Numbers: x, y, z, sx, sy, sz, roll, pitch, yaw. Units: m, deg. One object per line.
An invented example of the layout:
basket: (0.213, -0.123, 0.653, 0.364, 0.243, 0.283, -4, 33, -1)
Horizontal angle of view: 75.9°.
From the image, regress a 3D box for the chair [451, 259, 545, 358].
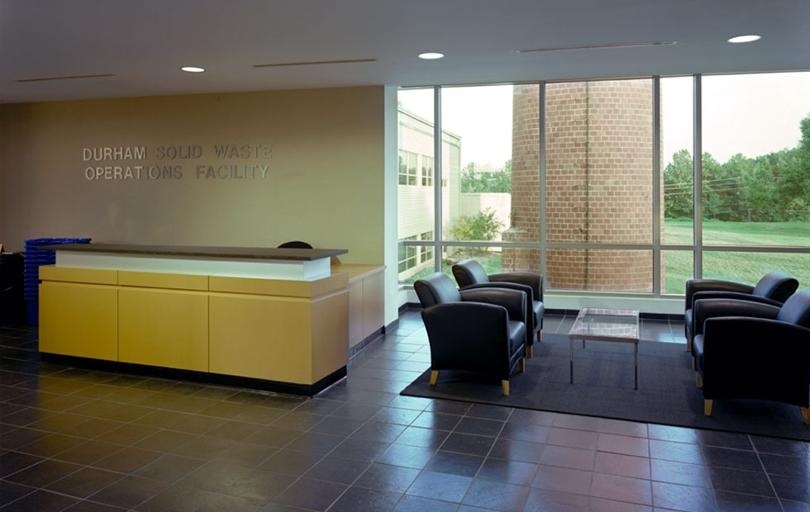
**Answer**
chair: (1.465, 0.732, 7.974, 1.233, 1.197, 1.221, 4, 9, 17)

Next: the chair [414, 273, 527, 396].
chair: (0.889, 0.910, 6.911, 1.407, 1.153, 1.358, 6, 10, 30)
